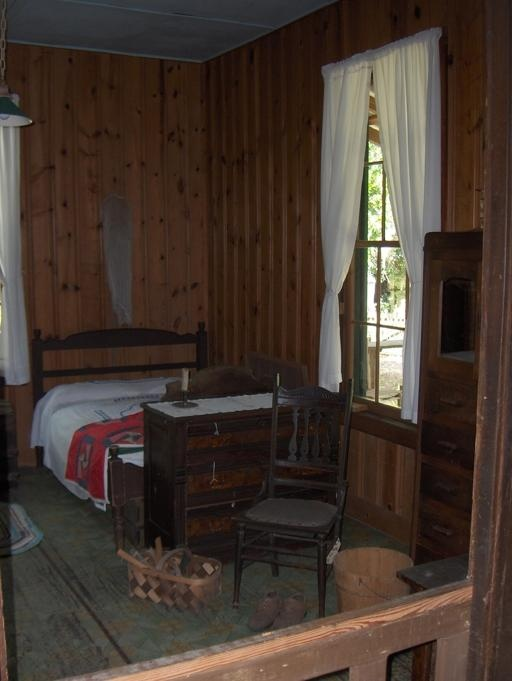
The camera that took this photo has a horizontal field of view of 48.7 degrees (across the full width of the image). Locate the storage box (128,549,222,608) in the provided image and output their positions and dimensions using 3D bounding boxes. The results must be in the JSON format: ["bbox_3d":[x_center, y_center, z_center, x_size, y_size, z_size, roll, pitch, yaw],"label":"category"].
[{"bbox_3d":[-0.431,1.196,3.000,0.374,0.265,0.273,0,-2,24],"label":"storage box"}]

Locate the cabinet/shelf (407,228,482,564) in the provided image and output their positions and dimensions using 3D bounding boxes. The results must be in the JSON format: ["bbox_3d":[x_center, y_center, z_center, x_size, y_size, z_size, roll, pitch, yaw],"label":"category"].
[{"bbox_3d":[0.920,0.318,2.781,0.291,1.694,0.479,1,3,19],"label":"cabinet/shelf"}]

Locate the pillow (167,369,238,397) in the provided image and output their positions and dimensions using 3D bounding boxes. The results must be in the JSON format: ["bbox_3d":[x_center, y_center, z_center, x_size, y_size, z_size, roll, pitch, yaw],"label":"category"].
[{"bbox_3d":[-0.320,0.295,3.948,0.302,0.169,0.252,-4,2,-31],"label":"pillow"}]

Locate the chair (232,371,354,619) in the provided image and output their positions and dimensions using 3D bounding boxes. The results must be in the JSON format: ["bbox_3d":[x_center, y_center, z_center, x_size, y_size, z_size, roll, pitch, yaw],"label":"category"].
[{"bbox_3d":[0.213,0.806,3.188,0.628,1.200,1.154,0,3,10],"label":"chair"}]

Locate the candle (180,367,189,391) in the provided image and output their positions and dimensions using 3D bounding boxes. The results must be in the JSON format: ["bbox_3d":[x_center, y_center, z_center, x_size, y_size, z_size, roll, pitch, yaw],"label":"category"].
[{"bbox_3d":[-0.446,0.245,3.541,0.038,0.152,0.242,-1,4,-10],"label":"candle"}]

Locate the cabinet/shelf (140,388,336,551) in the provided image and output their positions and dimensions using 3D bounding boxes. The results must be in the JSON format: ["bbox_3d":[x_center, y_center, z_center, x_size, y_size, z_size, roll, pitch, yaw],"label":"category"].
[{"bbox_3d":[-0.259,0.794,3.516,0.721,0.924,0.443,-5,13,-40],"label":"cabinet/shelf"}]
